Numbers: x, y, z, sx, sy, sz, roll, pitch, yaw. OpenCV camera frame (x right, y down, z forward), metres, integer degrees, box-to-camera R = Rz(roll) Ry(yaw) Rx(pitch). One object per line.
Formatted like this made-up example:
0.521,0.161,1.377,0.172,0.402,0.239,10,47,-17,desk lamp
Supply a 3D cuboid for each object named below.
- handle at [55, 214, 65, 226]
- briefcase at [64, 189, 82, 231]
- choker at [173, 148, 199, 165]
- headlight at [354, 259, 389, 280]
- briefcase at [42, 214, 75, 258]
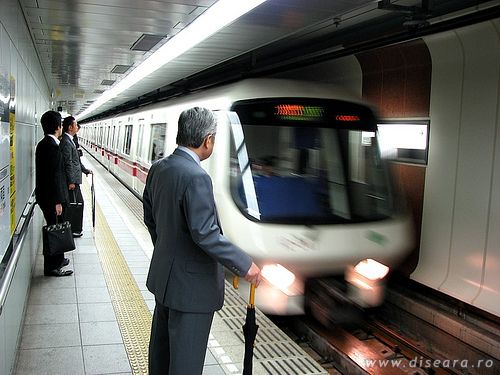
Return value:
-2.693,0.461,4.645,0.034,0.118,0.119,-2,14,-16,handle
-3.397,0.548,6.499,0.447,0.792,0.488,3,23,-23,briefcase
-0.375,-0.193,1.929,0.112,0.071,0.086,29,-9,34,choker
1.575,1.066,4.289,0.451,0.249,0.110,0,7,-17,headlight
-2.686,0.647,4.616,0.220,0.512,0.371,7,10,30,briefcase
